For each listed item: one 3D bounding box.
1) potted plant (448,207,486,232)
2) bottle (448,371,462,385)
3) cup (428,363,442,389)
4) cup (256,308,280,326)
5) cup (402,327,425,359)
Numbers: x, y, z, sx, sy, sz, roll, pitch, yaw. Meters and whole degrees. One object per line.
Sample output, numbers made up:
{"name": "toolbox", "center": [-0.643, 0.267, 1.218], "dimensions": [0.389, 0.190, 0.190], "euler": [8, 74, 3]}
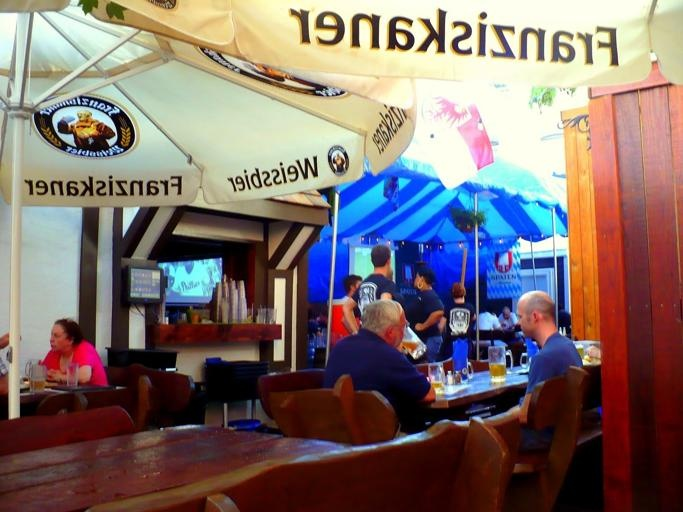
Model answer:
{"name": "potted plant", "center": [2.266, -0.652, 11.070], "dimensions": [0.493, 0.400, 0.541], "euler": [-1, -7, 31]}
{"name": "bottle", "center": [0.828, 0.888, 4.522], "dimensions": [0.086, 0.092, 0.089], "euler": [-5, -8, 43]}
{"name": "cup", "center": [0.636, 0.826, 4.224], "dimensions": [0.110, 0.210, 0.131], "euler": [-4, -6, 6]}
{"name": "cup", "center": [-0.941, 0.778, 7.945], "dimensions": [0.191, 0.260, 0.229], "euler": [8, -14, -42]}
{"name": "cup", "center": [0.576, 0.725, 5.085], "dimensions": [0.124, 0.076, 0.439], "euler": [-19, 4, -3]}
